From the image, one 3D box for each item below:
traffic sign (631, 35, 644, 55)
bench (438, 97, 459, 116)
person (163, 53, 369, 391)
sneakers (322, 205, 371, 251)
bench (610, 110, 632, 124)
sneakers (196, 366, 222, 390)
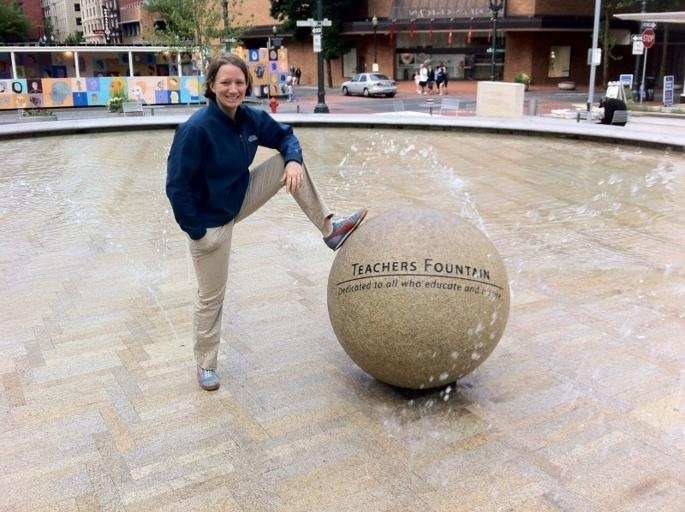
[{"bbox_3d":[15.021,-10.806,23.001,0.400,0.872,1.697,13,24,33],"label":"traffic sign"},{"bbox_3d":[5.607,-7.827,23.646,0.906,0.627,5.526,3,20,13],"label":"bench"},{"bbox_3d":[-0.695,-0.225,3.404,1.129,2.383,0.568,-10,23,-20],"label":"person"},{"bbox_3d":[0.011,-0.183,3.488,0.471,0.194,0.174,-44,-2,-7],"label":"sneakers"},{"bbox_3d":[10.712,-5.377,17.544,0.466,0.300,0.761,3,23,8],"label":"bench"},{"bbox_3d":[-1.029,0.940,3.486,0.103,0.110,0.250,-2,4,-31],"label":"sneakers"}]
